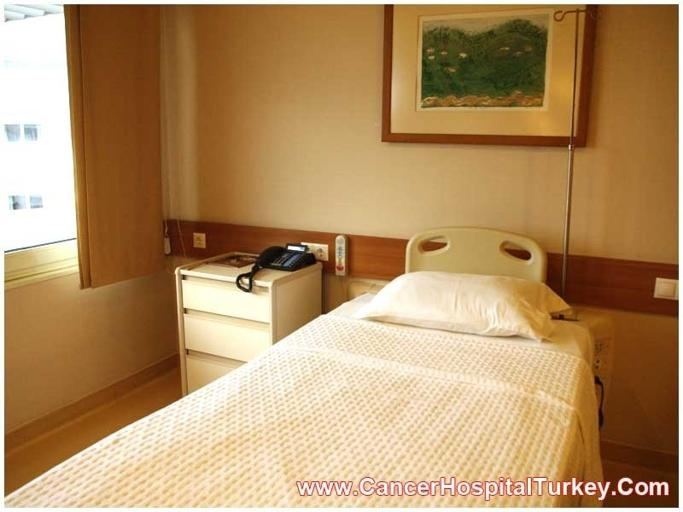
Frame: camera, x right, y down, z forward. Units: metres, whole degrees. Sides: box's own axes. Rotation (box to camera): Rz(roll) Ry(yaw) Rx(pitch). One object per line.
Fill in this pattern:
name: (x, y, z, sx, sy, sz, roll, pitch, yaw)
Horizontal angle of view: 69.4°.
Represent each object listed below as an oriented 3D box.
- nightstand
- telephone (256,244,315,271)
nightstand: (-0.533, 0.468, 2.879, 0.644, 0.897, 0.535, 7, 13, 28)
telephone: (-0.308, -0.025, 2.741, 0.163, 0.087, 0.217, 7, 10, 30)
